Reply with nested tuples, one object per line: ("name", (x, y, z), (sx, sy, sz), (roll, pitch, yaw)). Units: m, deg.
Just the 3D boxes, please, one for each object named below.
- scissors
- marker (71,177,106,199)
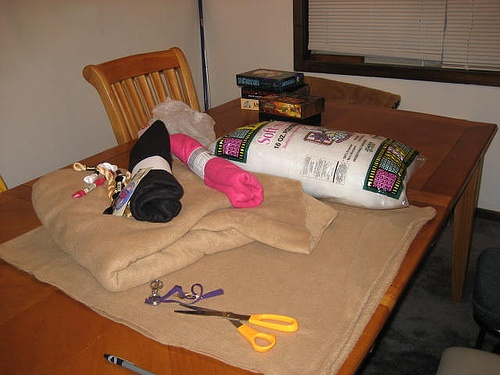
("scissors", (-0.013, 0.233, 0.657), (0.137, 0.015, 0.077), (7, 22, 25))
("marker", (-0.394, -0.003, 0.903), (0.037, 0.010, 0.060), (14, 31, 25))
